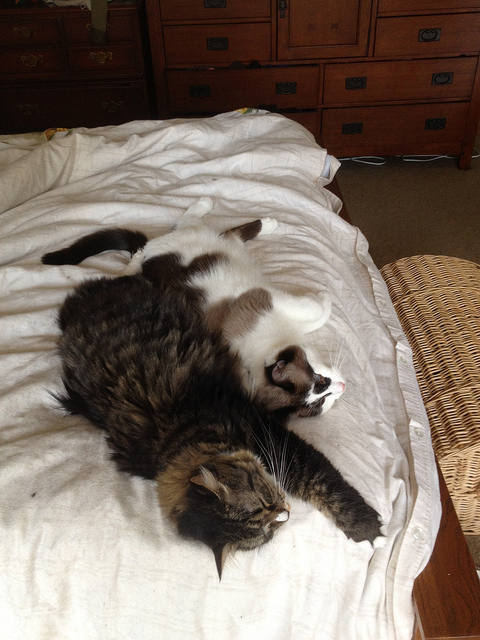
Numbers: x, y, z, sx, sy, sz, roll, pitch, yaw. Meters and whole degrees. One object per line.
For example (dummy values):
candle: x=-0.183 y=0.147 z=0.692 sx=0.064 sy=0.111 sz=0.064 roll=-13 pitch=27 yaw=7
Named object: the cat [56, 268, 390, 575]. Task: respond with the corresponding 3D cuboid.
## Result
cat: x=-0.072 y=0.148 z=0.929 sx=0.323 sy=0.194 sz=0.530 roll=-34 pitch=73 yaw=-5
